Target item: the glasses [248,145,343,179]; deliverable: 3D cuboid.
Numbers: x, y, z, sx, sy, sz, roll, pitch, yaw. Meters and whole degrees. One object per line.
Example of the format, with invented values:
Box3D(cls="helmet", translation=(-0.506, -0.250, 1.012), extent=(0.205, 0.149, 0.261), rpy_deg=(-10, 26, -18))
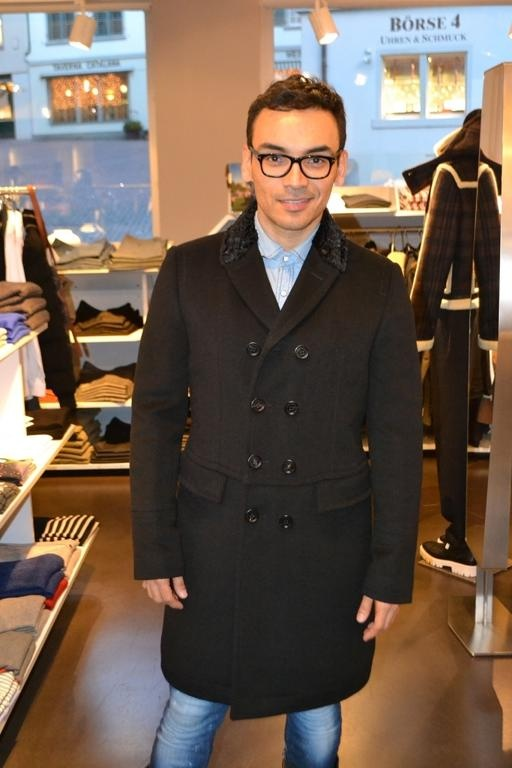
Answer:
Box3D(cls="glasses", translation=(0.054, -0.303, 0.829), extent=(0.110, 0.041, 0.043), rpy_deg=(-1, 14, 1))
